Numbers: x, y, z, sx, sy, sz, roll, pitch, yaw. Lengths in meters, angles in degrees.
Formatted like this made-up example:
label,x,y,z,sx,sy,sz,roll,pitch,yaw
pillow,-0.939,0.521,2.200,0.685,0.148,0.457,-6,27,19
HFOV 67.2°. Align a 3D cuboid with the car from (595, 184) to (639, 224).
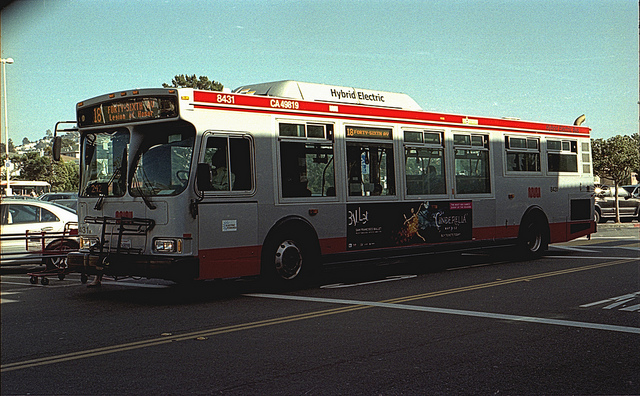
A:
label,x,y,z,sx,sy,sz,roll,pitch,yaw
car,20.017,0.483,32.562,4.622,2.287,2.258,-5,4,-18
